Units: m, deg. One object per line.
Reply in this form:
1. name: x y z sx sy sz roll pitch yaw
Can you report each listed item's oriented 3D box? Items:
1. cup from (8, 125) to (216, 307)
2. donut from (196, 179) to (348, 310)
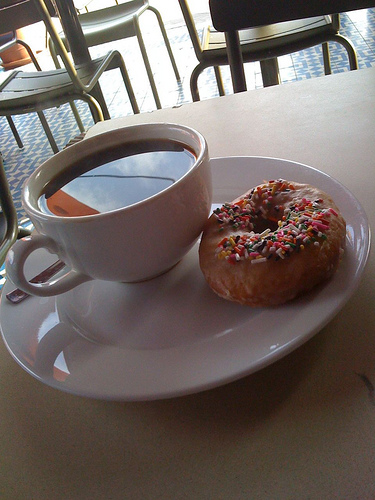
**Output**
1. cup: -0.028 -0.015 0.349 0.180 0.084 0.142 -36 44 -21
2. donut: 0.049 -0.020 0.292 0.113 0.116 0.043 18 58 42
